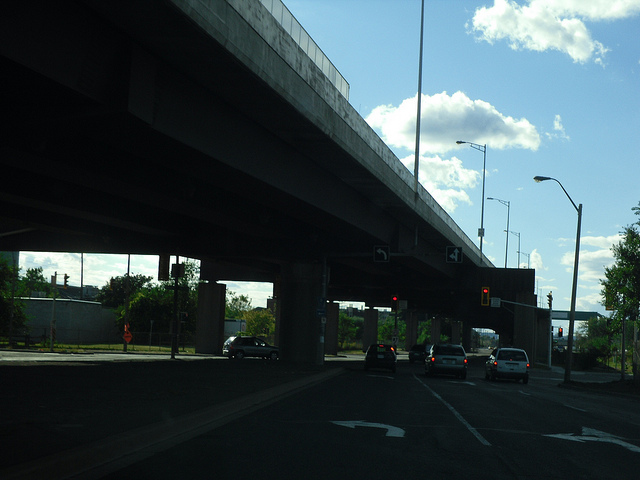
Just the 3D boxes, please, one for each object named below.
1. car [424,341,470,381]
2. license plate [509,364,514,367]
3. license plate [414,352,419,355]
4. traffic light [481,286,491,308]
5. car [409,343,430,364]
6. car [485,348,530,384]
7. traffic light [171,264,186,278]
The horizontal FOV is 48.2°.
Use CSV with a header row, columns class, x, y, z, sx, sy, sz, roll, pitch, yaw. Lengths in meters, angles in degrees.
class,x,y,z,sx,sy,sz,roll,pitch,yaw
car,7.203,6.863,41.431,1.616,1.704,3.143,2,-5,3
license plate,10.612,6.873,39.563,0.159,0.198,0.100,-1,-11,6
license plate,8.559,9.897,63.033,0.393,0.167,0.056,-1,-9,21
traffic light,12.520,4.116,53.994,0.389,1.402,1.395,0,-10,19
car,9.031,10.026,64.318,1.596,1.802,3.510,0,-6,17
car,10.602,7.010,40.346,1.355,1.390,2.529,1,-4,2
traffic light,-9.783,2.085,48.703,0.189,0.931,0.877,6,2,33
